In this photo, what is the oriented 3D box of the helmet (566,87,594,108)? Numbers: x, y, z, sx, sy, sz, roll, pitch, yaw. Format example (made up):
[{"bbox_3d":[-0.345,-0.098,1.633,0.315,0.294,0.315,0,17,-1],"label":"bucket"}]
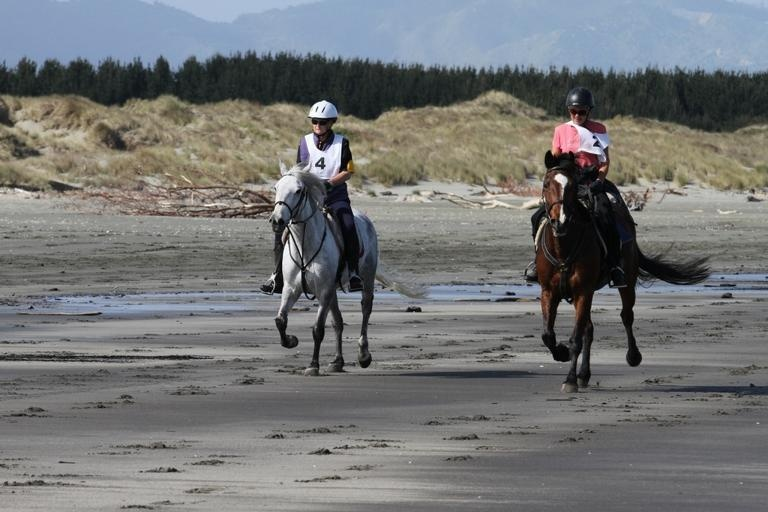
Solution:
[{"bbox_3d":[4.506,-3.645,40.677,0.468,0.465,0.583,6,23,18],"label":"helmet"}]

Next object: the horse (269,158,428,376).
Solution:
[{"bbox_3d":[-1.338,0.185,41.327,1.860,4.604,3.607,7,13,31],"label":"horse"}]

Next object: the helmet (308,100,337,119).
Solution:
[{"bbox_3d":[-1.475,-3.450,41.755,0.467,0.406,0.655,0,1,19],"label":"helmet"}]
